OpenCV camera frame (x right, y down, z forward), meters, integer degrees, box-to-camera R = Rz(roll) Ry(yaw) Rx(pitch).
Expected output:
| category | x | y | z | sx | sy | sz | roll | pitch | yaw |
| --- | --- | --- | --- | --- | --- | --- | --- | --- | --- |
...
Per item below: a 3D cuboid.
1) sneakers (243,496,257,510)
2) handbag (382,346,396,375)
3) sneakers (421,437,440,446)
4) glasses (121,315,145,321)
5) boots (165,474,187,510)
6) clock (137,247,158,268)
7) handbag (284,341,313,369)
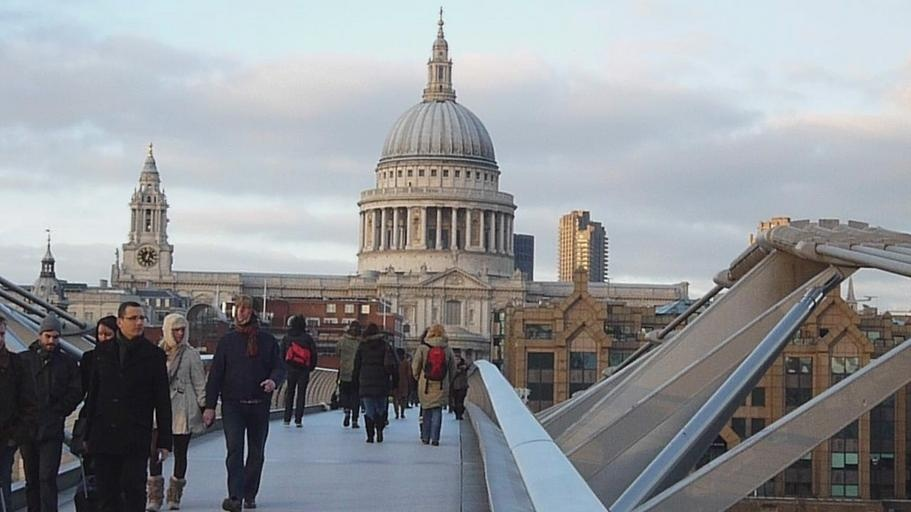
| category | x | y | z | sx | sy | sz | roll | pitch | yaw |
| --- | --- | --- | --- | --- | --- | --- | --- | --- | --- |
| sneakers | -3.646 | 4.493 | 30.162 | 0.243 | 0.175 | 0.222 | -1 | 3 | 5 |
| handbag | -1.445 | 2.326 | 36.475 | 0.416 | 0.679 | 0.746 | -2 | -3 | 4 |
| sneakers | -0.555 | 4.042 | 36.016 | 0.155 | 0.144 | 0.377 | 3 | 8 | -41 |
| glasses | -5.409 | 1.080 | 28.795 | 0.231 | 0.061 | 0.429 | 1 | -3 | 29 |
| boots | -4.988 | 4.287 | 30.127 | 0.291 | 0.599 | 0.474 | 4 | -3 | -10 |
| clock | -27.675 | 0.097 | 152.131 | 1.998 | 1.702 | 1.847 | 10 | 7 | 6 |
| handbag | -3.345 | 2.174 | 36.303 | 0.527 | 0.428 | 0.286 | 15 | -28 | -18 |
